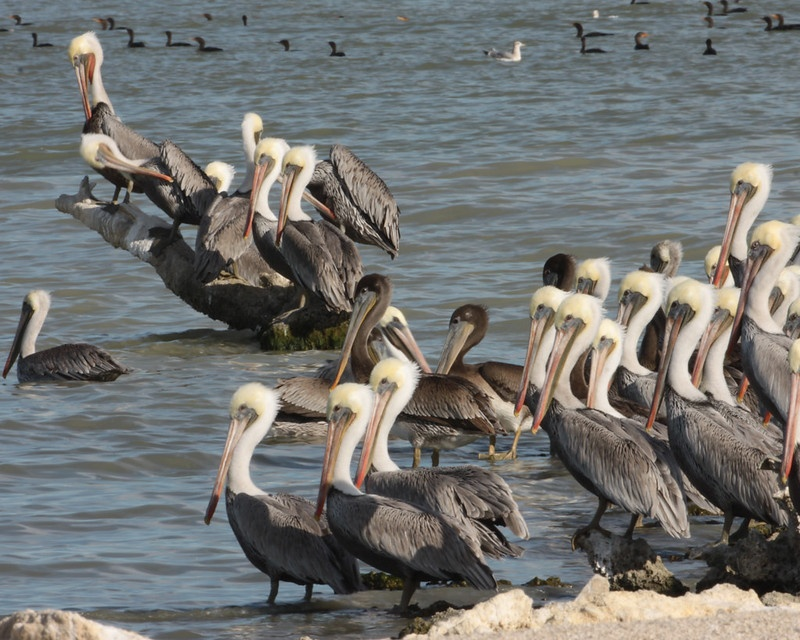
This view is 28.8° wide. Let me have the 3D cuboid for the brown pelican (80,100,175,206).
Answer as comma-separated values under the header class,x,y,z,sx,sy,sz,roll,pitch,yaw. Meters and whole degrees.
class,x,y,z,sx,sy,sz,roll,pitch,yaw
brown pelican,-3.406,-2.038,19.323,0.965,1.247,1.195,-4,19,-10
